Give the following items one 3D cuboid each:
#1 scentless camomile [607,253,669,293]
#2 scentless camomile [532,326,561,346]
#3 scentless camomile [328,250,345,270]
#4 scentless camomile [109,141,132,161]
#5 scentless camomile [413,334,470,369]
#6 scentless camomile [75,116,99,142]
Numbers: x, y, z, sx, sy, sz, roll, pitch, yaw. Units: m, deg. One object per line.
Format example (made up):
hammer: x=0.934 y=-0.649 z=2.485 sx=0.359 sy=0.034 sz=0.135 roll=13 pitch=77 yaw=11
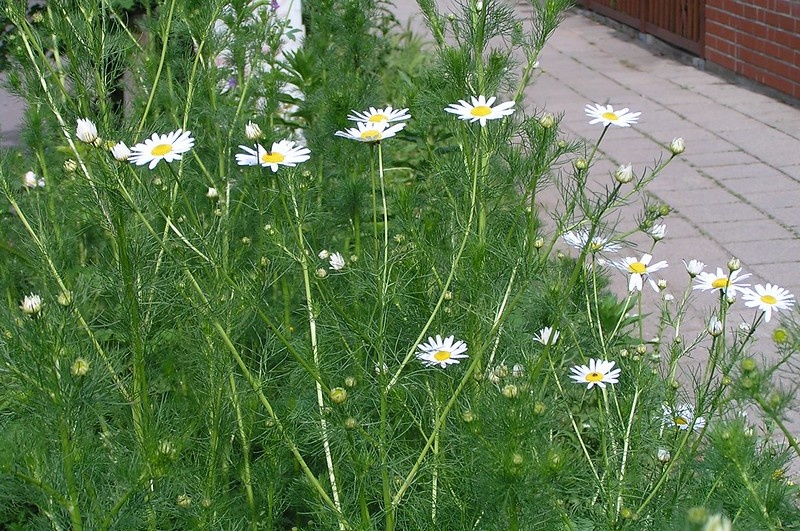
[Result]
scentless camomile: x=0.847 y=0.026 z=3.417 sx=0.187 sy=0.117 sz=0.234 roll=3 pitch=14 yaw=2
scentless camomile: x=0.506 y=0.265 z=3.338 sx=0.094 sy=0.068 sz=0.110 roll=2 pitch=-11 yaw=-9
scentless camomile: x=-0.223 y=-0.013 z=3.306 sx=0.039 sy=0.076 sz=0.073 roll=17 pitch=-10 yaw=-1
scentless camomile: x=-0.811 y=-0.323 z=2.781 sx=0.052 sy=0.066 sz=0.069 roll=3 pitch=-24 yaw=-2
scentless camomile: x=0.121 y=0.270 z=2.995 sx=0.113 sy=0.049 sz=0.129 roll=6 pitch=39 yaw=25
scentless camomile: x=-0.894 y=-0.384 z=2.719 sx=0.050 sy=0.071 sz=0.070 roll=-16 pitch=37 yaw=-38
